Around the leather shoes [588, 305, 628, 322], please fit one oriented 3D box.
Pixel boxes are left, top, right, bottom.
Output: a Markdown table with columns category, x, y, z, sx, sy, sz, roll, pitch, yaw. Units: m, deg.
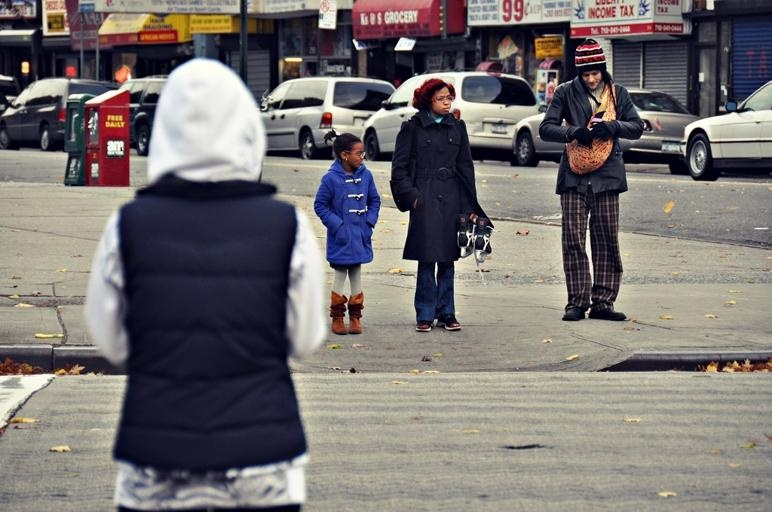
| category | x | y | z | sx | sy | sz | roll | pitch | yaw |
| --- | --- | --- | --- | --- | --- | --- | --- | --- | --- |
| leather shoes | 1.986 | 0.522 | 12.240 | 0.338 | 0.132 | 0.124 | 1 | 2 | 28 |

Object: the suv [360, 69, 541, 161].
| category | x | y | z | sx | sy | sz | roll | pitch | yaw |
| --- | --- | --- | --- | --- | --- | --- | --- | --- | --- |
| suv | 0.912 | -2.784 | 27.118 | 1.825 | 1.400 | 3.154 | -4 | 12 | -32 |

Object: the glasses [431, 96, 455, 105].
| category | x | y | z | sx | sy | sz | roll | pitch | yaw |
| --- | --- | --- | --- | --- | --- | --- | --- | --- | --- |
| glasses | 0.506 | -1.342 | 11.683 | 0.107 | 0.072 | 0.252 | 8 | 13 | 31 |

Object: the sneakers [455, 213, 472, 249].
| category | x | y | z | sx | sy | sz | roll | pitch | yaw |
| --- | --- | --- | --- | --- | --- | --- | --- | --- | --- |
| sneakers | 0.683 | -0.215 | 11.732 | 0.101 | 0.314 | 0.171 | 1 | -18 | 9 |

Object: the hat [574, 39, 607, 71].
| category | x | y | z | sx | sy | sz | roll | pitch | yaw |
| --- | --- | --- | --- | --- | --- | --- | --- | --- | --- |
| hat | 1.831 | -1.775 | 12.006 | 0.359 | 0.329 | 0.277 | -3 | 11 | 2 |

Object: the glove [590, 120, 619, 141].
| category | x | y | z | sx | sy | sz | roll | pitch | yaw |
| --- | --- | --- | --- | --- | --- | --- | --- | --- | --- |
| glove | 1.905 | -1.100 | 11.919 | 0.258 | 0.171 | 0.163 | 2 | 11 | 5 |

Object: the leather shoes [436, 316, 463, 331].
| category | x | y | z | sx | sy | sz | roll | pitch | yaw |
| --- | --- | --- | --- | --- | --- | --- | --- | --- | --- |
| leather shoes | 0.542 | 0.602 | 11.968 | 0.093 | 0.113 | 0.260 | 0 | -2 | -35 |

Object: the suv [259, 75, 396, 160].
| category | x | y | z | sx | sy | sz | roll | pitch | yaw |
| --- | --- | --- | --- | --- | --- | --- | --- | --- | --- |
| suv | -1.534 | -3.030 | 29.189 | 1.582 | 1.111 | 2.956 | -5 | 11 | -35 |

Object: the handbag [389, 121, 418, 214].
| category | x | y | z | sx | sy | sz | roll | pitch | yaw |
| --- | --- | --- | --- | --- | --- | --- | --- | --- | --- |
| handbag | 0.180 | -0.763 | 11.688 | 0.208 | 0.623 | 0.461 | 3 | 6 | 5 |

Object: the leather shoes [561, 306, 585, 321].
| category | x | y | z | sx | sy | sz | roll | pitch | yaw |
| --- | --- | --- | --- | --- | --- | --- | --- | --- | --- |
| leather shoes | 1.677 | 0.527 | 12.211 | 0.094 | 0.105 | 0.253 | 0 | -4 | 30 |
